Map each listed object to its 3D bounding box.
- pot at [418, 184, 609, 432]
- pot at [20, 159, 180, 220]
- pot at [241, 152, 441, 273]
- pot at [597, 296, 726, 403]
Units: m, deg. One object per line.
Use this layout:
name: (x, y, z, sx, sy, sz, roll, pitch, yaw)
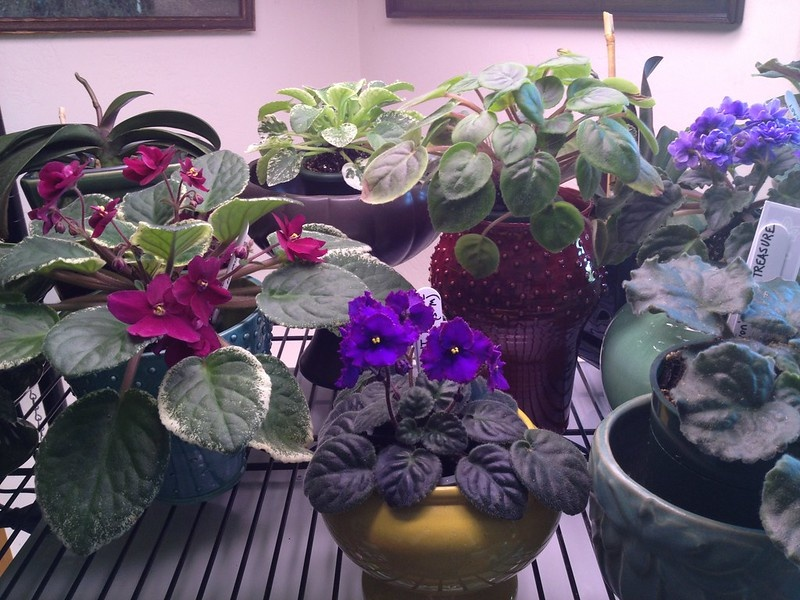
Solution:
pot: (0.176, -0.019, 1.101, 0.367, 0.488, 0.344, -4, 11, 1)
pot: (-0.490, -0.175, 0.900, 0.164, 0.075, 0.122, -13, 23, -1)
pot: (-0.061, -0.126, 1.070, 0.265, 0.112, 0.252, -3, -1, 0)
pot: (0.411, 0.073, 0.891, 0.146, 0.124, 0.171, 8, 25, 19)
